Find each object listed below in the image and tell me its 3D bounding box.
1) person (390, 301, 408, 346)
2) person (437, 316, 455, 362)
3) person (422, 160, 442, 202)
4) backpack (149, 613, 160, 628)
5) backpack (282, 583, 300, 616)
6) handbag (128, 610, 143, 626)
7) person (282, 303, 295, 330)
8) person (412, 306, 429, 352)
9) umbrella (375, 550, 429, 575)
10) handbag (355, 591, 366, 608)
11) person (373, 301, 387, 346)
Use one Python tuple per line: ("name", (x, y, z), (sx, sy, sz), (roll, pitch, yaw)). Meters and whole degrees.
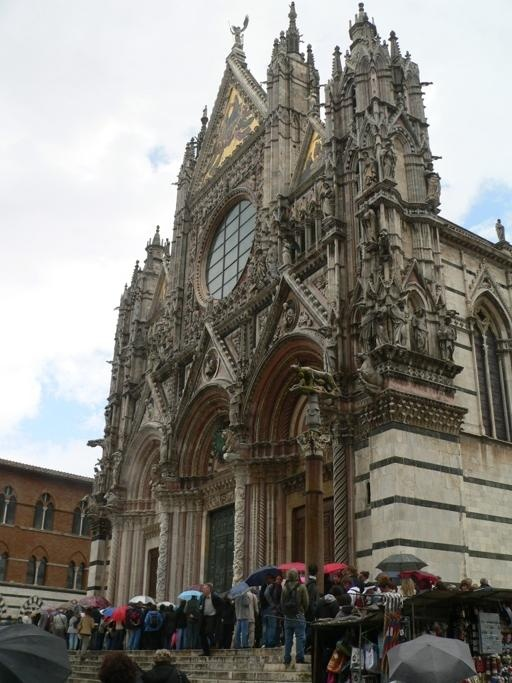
("person", (3.308, -0.370, 15.892), (0.198, 1.117, 0.607), (-19, -30, 38))
("person", (4.569, -0.077, 16.672), (0.471, 1.256, 0.262), (17, -28, -34))
("person", (4.705, -4.341, 18.647), (0.370, 1.733, 0.572), (-5, -24, 13))
("backpack", (-2.146, 5.876, 14.688), (0.281, 0.301, 0.188), (2, -9, -11))
("backpack", (0.436, 3.487, 9.390), (0.177, 0.425, 0.338), (15, -27, -30))
("handbag", (-2.589, 5.922, 14.958), (0.222, 0.396, 0.278), (-20, -25, 34))
("person", (0.912, -0.692, 19.456), (0.119, 0.847, 0.387), (22, -45, -25))
("person", (3.852, -0.275, 16.402), (0.292, 1.214, 0.454), (-10, -25, 24))
("umbrella", (2.471, 3.748, 11.732), (0.602, 0.277, 0.581), (6, -28, -23))
("handbag", (1.251, 3.111, 8.333), (0.132, 0.174, 0.407), (-3, -22, 7))
("person", (2.844, -0.407, 15.798), (0.379, 1.004, 0.144), (-15, -27, 32))
